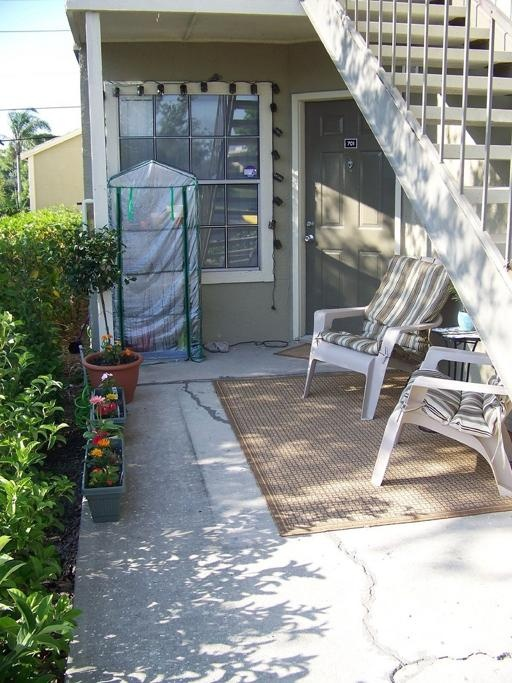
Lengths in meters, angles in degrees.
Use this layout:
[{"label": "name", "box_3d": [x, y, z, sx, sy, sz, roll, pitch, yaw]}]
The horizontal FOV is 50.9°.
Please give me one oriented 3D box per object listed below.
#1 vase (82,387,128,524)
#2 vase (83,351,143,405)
[{"label": "vase", "box_3d": [-0.683, 0.531, 2.622, 0.231, 0.315, 0.811, -1, 18, -9]}, {"label": "vase", "box_3d": [-1.018, 0.233, 3.792, 0.392, 0.280, 0.384, 0, 7, -5]}]
